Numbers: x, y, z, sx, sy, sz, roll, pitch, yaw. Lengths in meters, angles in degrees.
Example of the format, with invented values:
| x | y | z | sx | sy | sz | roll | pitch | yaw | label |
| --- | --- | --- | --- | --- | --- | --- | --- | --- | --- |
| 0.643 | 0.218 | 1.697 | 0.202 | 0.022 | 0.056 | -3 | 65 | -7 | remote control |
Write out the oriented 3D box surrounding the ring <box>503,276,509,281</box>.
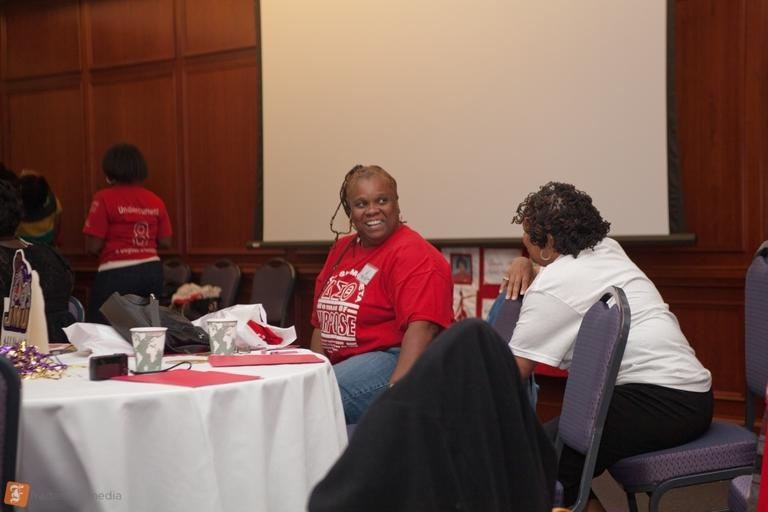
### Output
| x | y | z | sx | sy | sz | roll | pitch | yaw | label |
| --- | --- | --- | --- | --- | --- | --- | --- | --- | --- |
| 0.578 | 0.105 | 3.257 | 0.026 | 0.028 | 0.029 | 0 | 4 | 0 | ring |

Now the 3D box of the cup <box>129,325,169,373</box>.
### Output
| x | y | z | sx | sy | sz | roll | pitch | yaw | label |
| --- | --- | --- | --- | --- | --- | --- | --- | --- | --- |
| -0.894 | 0.356 | 2.615 | 0.142 | 0.163 | 0.148 | -1 | -3 | 0 | cup |

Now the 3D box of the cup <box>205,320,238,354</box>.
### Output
| x | y | z | sx | sy | sz | roll | pitch | yaw | label |
| --- | --- | --- | --- | --- | --- | --- | --- | --- | --- |
| -0.686 | 0.347 | 2.889 | 0.130 | 0.151 | 0.140 | 2 | -3 | 0 | cup |
